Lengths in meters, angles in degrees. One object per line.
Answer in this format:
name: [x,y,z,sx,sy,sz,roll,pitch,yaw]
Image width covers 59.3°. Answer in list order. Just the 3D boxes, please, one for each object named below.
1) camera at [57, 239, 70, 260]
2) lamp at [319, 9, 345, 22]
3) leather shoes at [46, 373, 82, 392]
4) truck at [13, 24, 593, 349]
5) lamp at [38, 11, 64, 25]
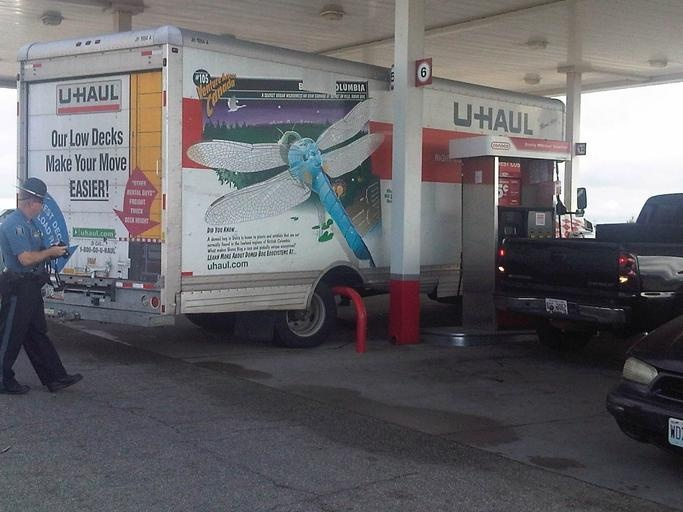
camera: [-3.385,-0.085,7.351,0.066,0.255,0.152,16,31,36]
lamp: [-0.178,-6.202,15.227,0.607,0.211,0.564,1,4,-7]
leather shoes: [-3.093,1.413,6.684,0.293,0.125,0.098,-29,12,-14]
truck: [0.248,-0.965,11.638,9.497,4.585,3.623,-4,4,-39]
lamp: [-7.348,-6.135,15.333,0.512,0.241,0.710,0,4,-26]
